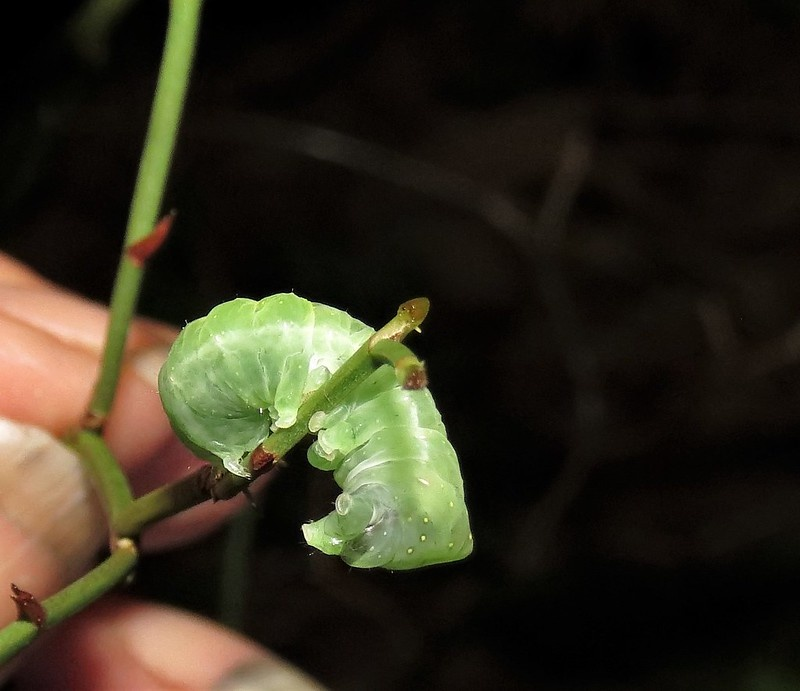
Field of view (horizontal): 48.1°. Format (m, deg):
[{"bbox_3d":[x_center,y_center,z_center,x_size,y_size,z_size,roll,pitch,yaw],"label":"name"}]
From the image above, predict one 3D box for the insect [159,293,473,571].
[{"bbox_3d":[-0.046,0.045,0.587,0.140,0.086,0.201,-38,80,15],"label":"insect"}]
